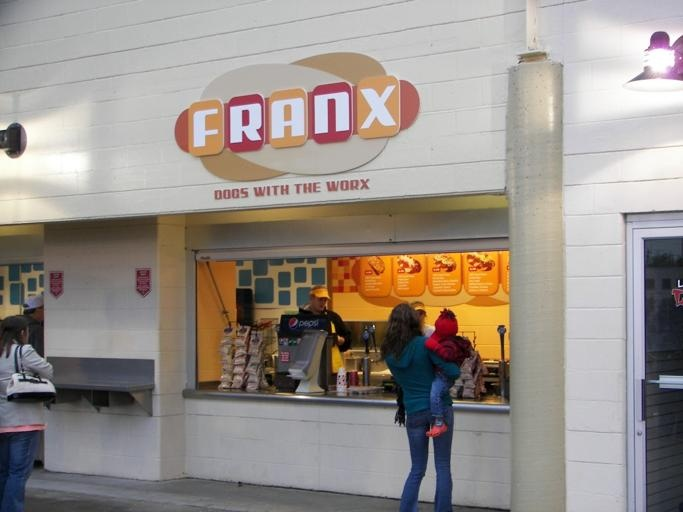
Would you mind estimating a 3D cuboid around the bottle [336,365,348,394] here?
[{"bbox_3d":[0.003,1.230,8.161,0.115,0.270,0.309,-1,-6,0],"label":"bottle"}]

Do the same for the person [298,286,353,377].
[{"bbox_3d":[-0.174,0.776,8.774,0.516,0.921,1.308,-1,-6,-1],"label":"person"}]

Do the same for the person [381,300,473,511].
[{"bbox_3d":[0.664,1.224,6.662,0.649,1.686,0.506,-1,-6,3],"label":"person"}]

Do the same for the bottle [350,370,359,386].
[{"bbox_3d":[0.132,1.247,8.436,0.123,0.153,0.128,1,1,8],"label":"bottle"}]

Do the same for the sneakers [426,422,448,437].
[{"bbox_3d":[0.754,1.382,6.536,0.162,0.124,0.191,-3,-6,16],"label":"sneakers"}]

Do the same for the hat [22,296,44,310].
[{"bbox_3d":[-3.116,0.469,8.290,0.173,0.160,0.296,2,-6,-23],"label":"hat"}]

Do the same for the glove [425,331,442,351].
[{"bbox_3d":[0.738,0.683,6.587,0.124,0.152,0.211,-2,-6,6],"label":"glove"}]

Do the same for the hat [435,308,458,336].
[{"bbox_3d":[0.858,0.541,6.713,0.170,0.211,0.299,-2,-6,10],"label":"hat"}]
